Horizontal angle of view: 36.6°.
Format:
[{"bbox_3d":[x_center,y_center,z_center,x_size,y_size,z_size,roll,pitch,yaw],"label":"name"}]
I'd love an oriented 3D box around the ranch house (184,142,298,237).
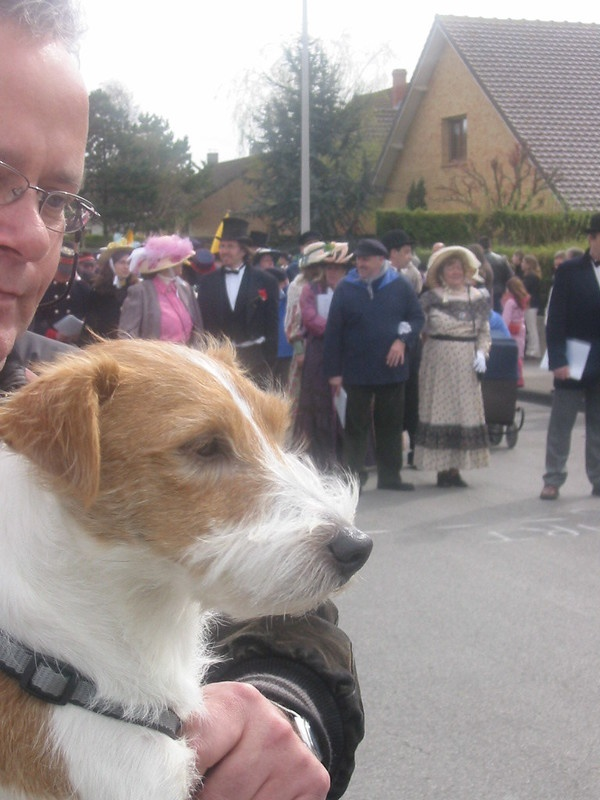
[{"bbox_3d":[-3.053,-11.579,52.146,5.445,5.325,3.104,-2,-2,21],"label":"ranch house"}]
